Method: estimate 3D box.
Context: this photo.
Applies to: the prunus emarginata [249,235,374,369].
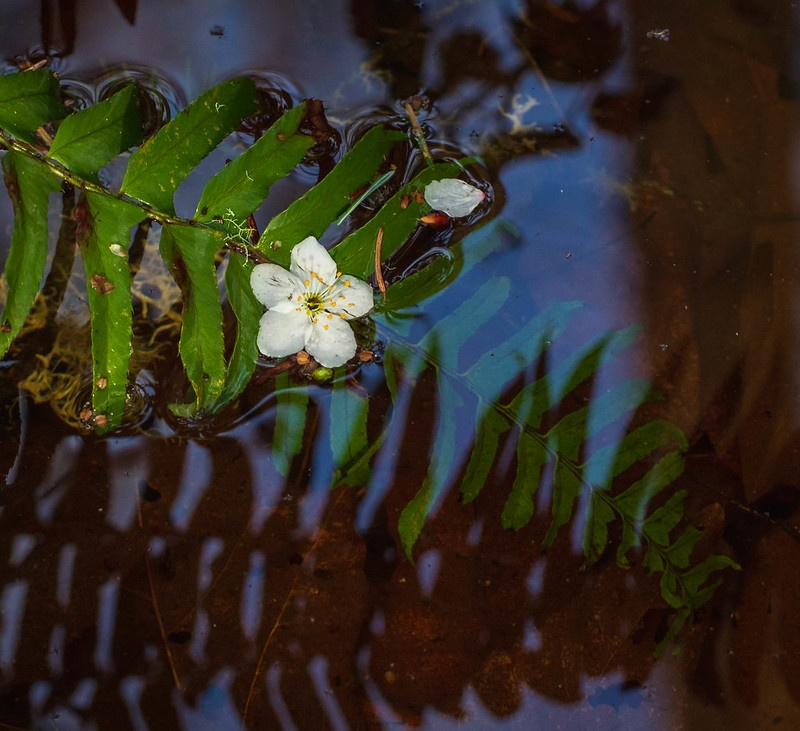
[{"bbox_3d":[-0.214,-0.162,2.352,0.287,0.152,0.254,-6,73,-2],"label":"prunus emarginata"}]
